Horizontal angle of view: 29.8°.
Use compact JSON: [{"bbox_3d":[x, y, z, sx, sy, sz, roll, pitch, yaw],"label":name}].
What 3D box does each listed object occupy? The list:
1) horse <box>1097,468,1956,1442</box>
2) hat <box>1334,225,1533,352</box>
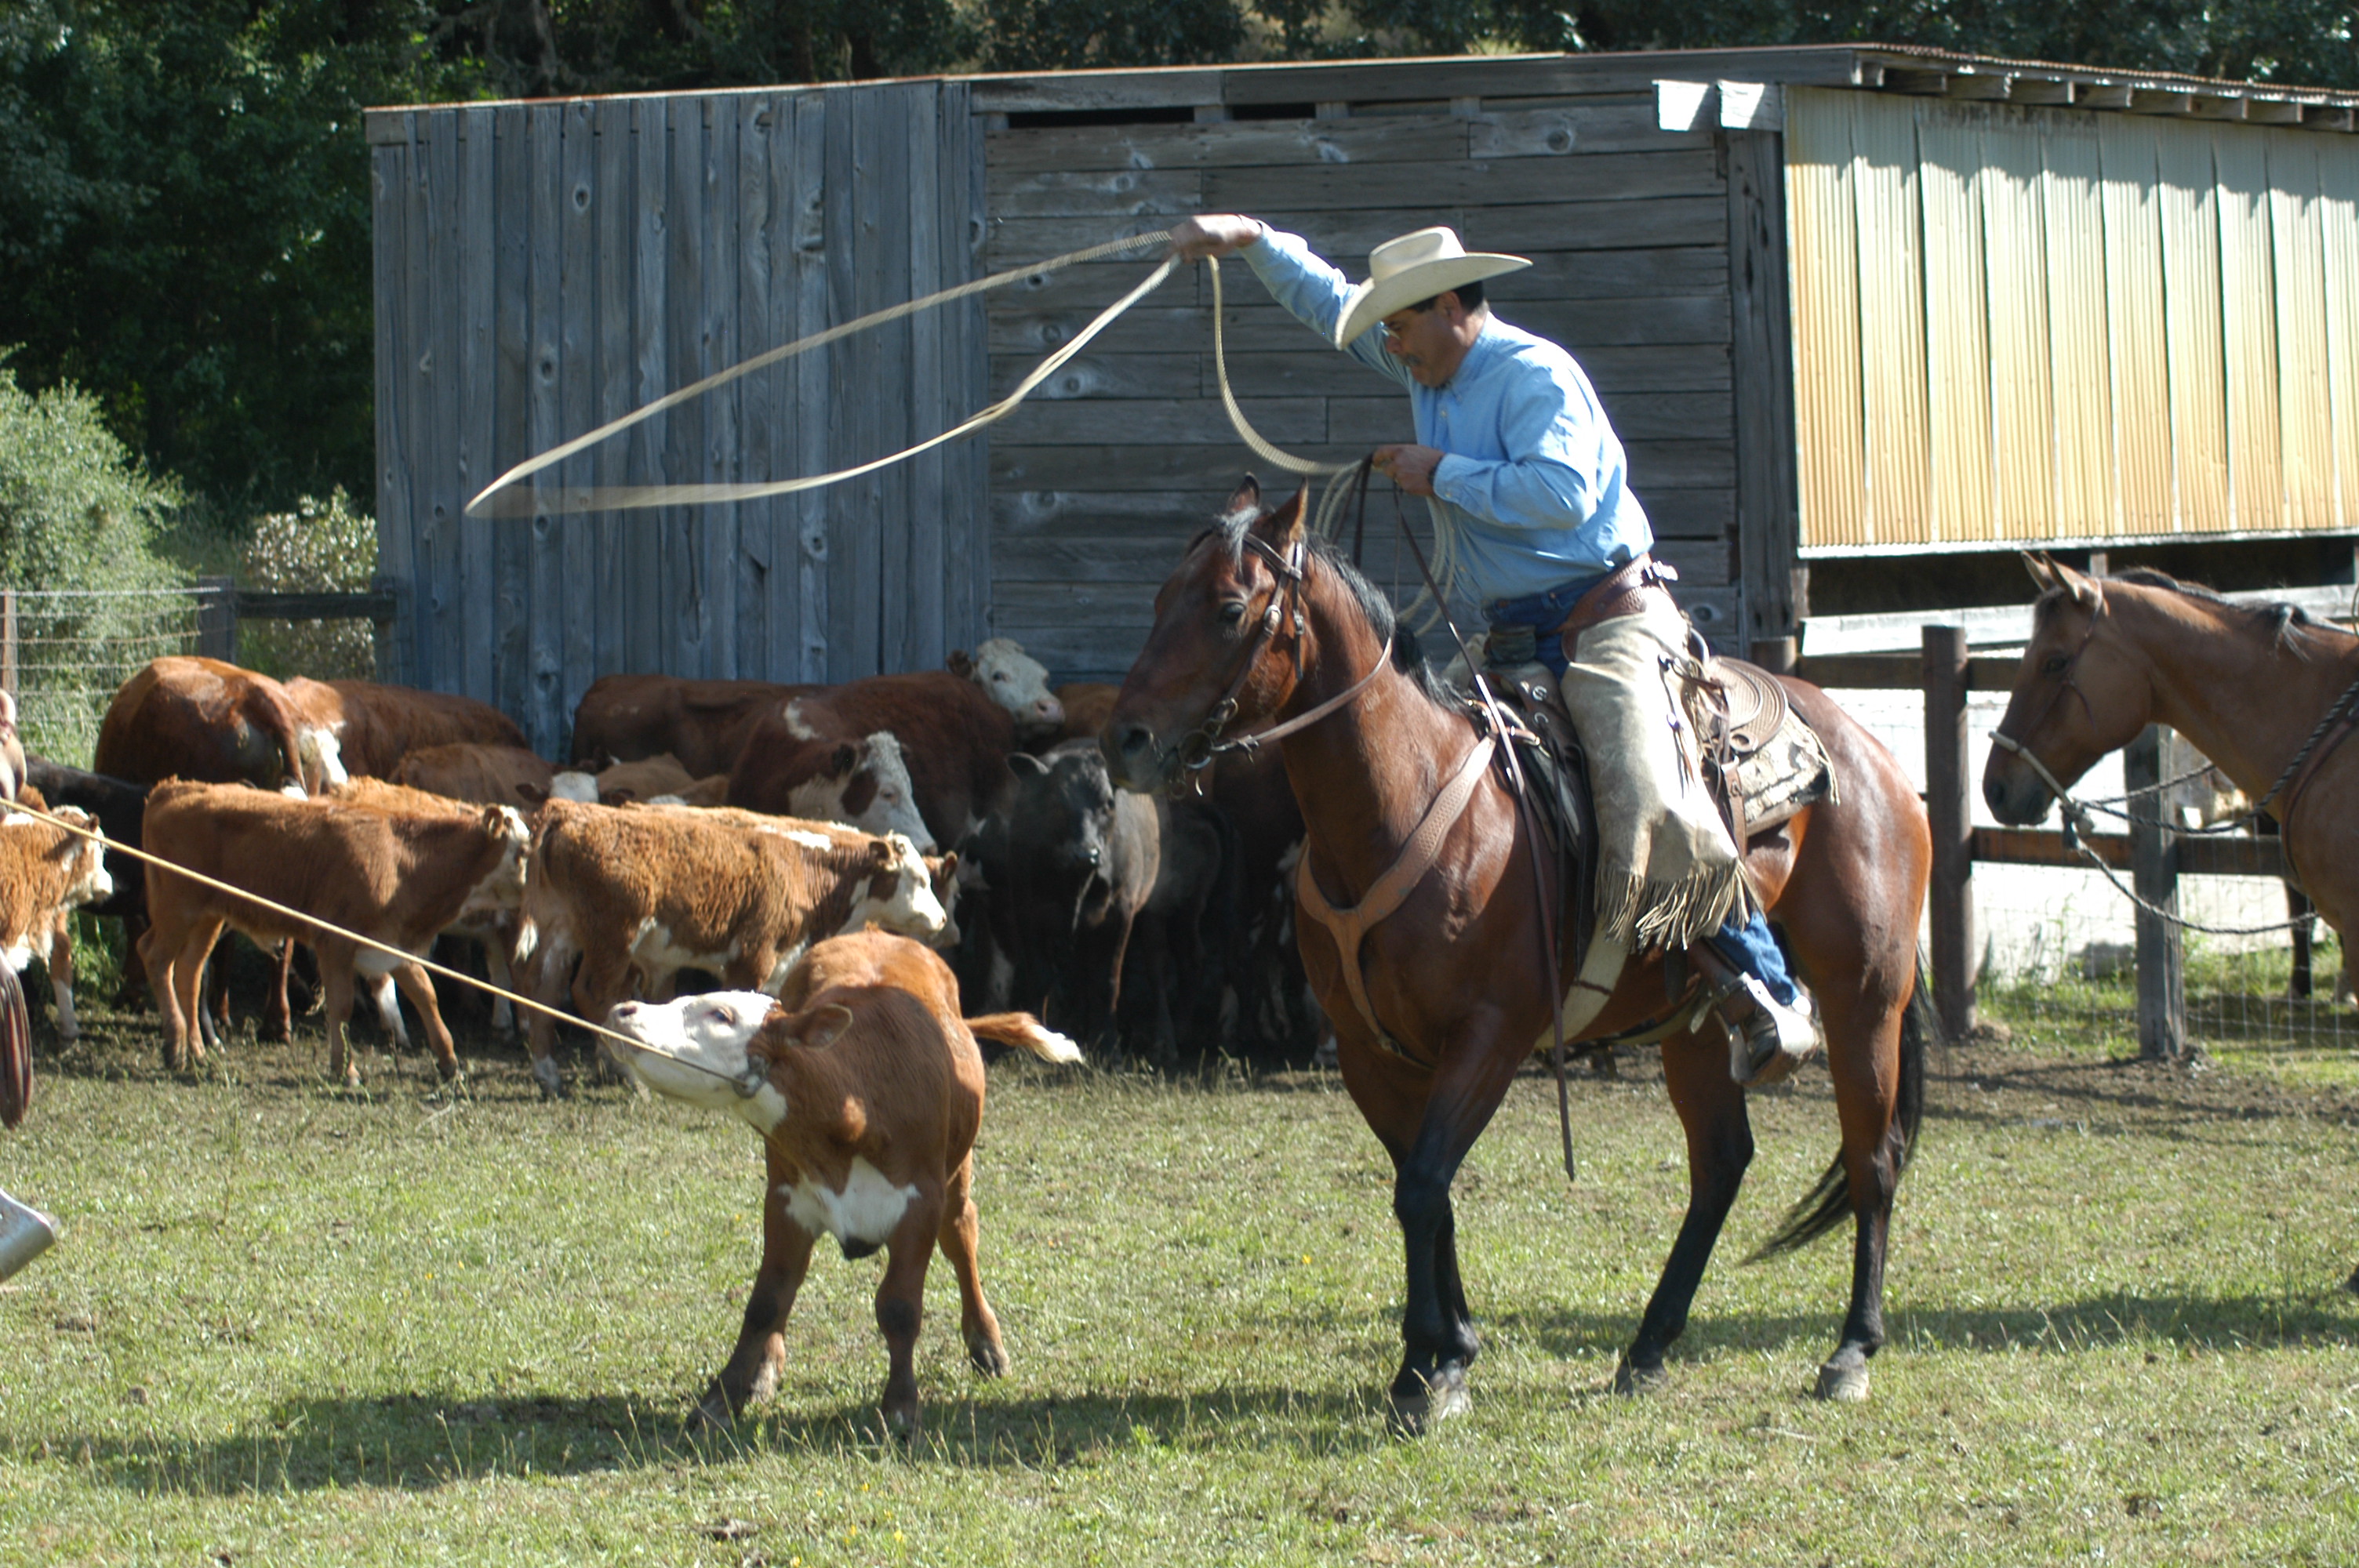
[{"bbox_3d":[2.317,1.164,26.544,6.281,5.231,1.714,5,-3,-30],"label":"horse"},{"bbox_3d":[1.397,-2.993,25.817,0.845,0.357,0.725,-30,0,-12],"label":"hat"}]
